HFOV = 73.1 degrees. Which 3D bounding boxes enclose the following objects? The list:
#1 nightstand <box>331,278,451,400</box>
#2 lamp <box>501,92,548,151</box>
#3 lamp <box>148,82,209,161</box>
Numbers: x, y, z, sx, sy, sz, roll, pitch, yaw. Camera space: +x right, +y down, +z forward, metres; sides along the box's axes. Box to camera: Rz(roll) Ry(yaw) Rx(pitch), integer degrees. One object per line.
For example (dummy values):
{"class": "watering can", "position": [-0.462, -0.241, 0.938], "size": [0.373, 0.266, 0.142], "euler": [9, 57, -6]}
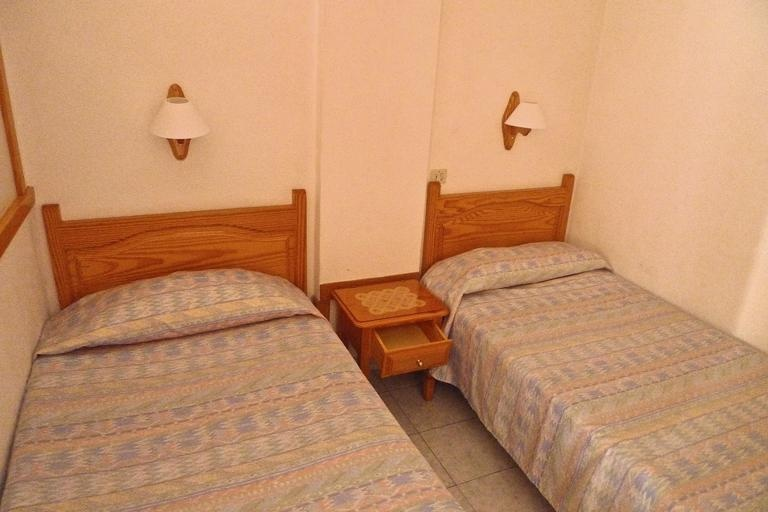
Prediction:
{"class": "nightstand", "position": [0.045, 0.445, 3.531], "size": [0.797, 0.722, 0.796], "euler": [-9, 30, -17]}
{"class": "lamp", "position": [1.028, -0.952, 3.702], "size": [0.352, 0.379, 0.294], "euler": [-12, 28, -27]}
{"class": "lamp", "position": [-1.187, -0.727, 2.958], "size": [0.329, 0.409, 0.311], "euler": [23, 32, 17]}
